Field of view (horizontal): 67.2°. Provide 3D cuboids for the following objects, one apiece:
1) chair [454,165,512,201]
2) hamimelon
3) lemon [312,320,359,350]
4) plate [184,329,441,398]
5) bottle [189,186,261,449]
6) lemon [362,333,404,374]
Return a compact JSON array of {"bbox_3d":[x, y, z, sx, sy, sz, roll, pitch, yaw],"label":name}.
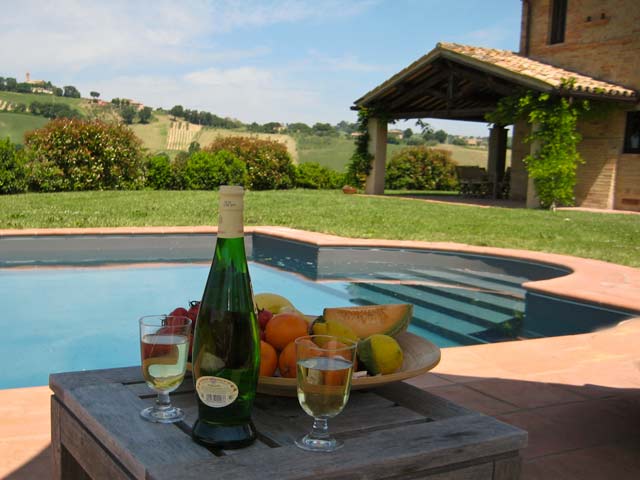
[{"bbox_3d":[5.589,-1.969,16.820,1.670,1.267,1.907,-6,8,-33],"label":"chair"},{"bbox_3d":[0.150,0.207,1.437,0.256,0.100,0.213,2,5,11],"label":"hamimelon"},{"bbox_3d":[0.037,0.240,1.226,0.068,0.043,0.082,3,3,-4],"label":"lemon"},{"bbox_3d":[-0.020,0.266,1.404,0.600,0.159,0.445,-4,6,-38],"label":"plate"},{"bbox_3d":[-0.199,0.151,0.988,0.181,0.478,0.161,0,5,-12],"label":"bottle"},{"bbox_3d":[0.166,0.302,1.273,0.099,0.090,0.123,6,11,31],"label":"lemon"}]
